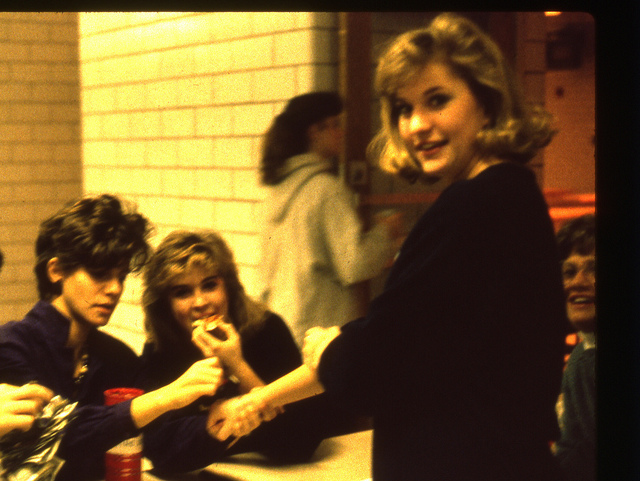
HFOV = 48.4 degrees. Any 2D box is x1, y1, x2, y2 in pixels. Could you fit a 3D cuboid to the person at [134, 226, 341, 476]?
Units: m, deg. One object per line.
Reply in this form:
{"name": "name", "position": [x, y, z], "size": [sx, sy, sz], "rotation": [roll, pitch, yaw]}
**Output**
{"name": "person", "position": [-0.422, 0.499, 3.212], "size": [0.817, 0.972, 0.436], "rotation": [-20, -2, -1]}

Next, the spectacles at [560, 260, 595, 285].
{"name": "spectacles", "position": [1.045, 0.128, 2.926], "size": [0.100, 0.068, 0.008], "rotation": [-6, 3, -3]}
